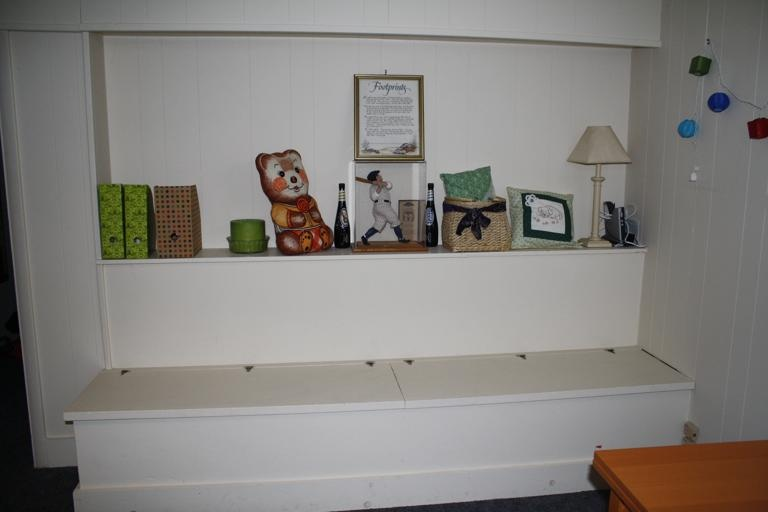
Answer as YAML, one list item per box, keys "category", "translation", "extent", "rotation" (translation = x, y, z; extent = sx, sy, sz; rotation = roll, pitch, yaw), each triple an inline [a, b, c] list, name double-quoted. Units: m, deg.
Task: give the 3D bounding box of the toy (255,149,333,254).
- category: "toy"
  translation: [-0.529, -0.333, 3.598]
  extent: [0.395, 0.623, 0.211]
  rotation: [-11, 12, -36]

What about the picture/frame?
- category: "picture/frame"
  translation: [0.025, -0.876, 3.690]
  extent: [0.539, 0.657, 0.045]
  rotation: [0, 1, -6]

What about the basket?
- category: "basket"
  translation: [0.585, -0.167, 3.680]
  extent: [0.371, 0.289, 0.338]
  rotation: [-1, -1, -5]

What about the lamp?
- category: "lamp"
  translation: [1.406, -0.454, 3.791]
  extent: [0.400, 0.758, 0.308]
  rotation: [-3, 10, 5]

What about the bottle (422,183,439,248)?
- category: "bottle"
  translation: [0.318, -0.267, 3.764]
  extent: [0.063, 0.402, 0.160]
  rotation: [1, 11, 25]

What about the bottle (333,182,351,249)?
- category: "bottle"
  translation: [-0.265, -0.254, 3.708]
  extent: [0.105, 0.397, 0.136]
  rotation: [-4, 10, -5]
